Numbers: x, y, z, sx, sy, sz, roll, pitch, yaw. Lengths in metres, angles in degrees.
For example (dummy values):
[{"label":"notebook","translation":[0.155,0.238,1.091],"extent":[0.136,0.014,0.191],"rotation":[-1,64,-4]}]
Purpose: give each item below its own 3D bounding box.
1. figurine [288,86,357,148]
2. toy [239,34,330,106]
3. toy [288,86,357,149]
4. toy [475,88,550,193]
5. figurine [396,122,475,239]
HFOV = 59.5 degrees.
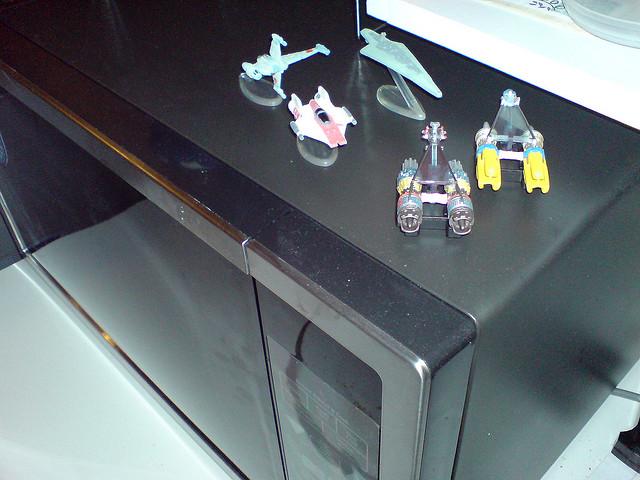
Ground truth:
[{"label":"figurine","translation":[0.000,-0.144,0.664],"extent":[0.065,0.027,0.082],"rotation":[-19,65,-11]},{"label":"toy","translation":[-0.066,-0.218,0.800],"extent":[0.091,0.100,0.143],"rotation":[34,51,28]},{"label":"toy","translation":[0.002,-0.144,0.664],"extent":[0.065,0.027,0.082],"rotation":[-18,64,-10]},{"label":"toy","translation":[0.214,-0.108,0.625],"extent":[0.067,0.043,0.142],"rotation":[0,69,13]},{"label":"figurine","translation":[0.125,-0.051,0.646],"extent":[0.116,0.105,0.096],"rotation":[0,44,8]}]
